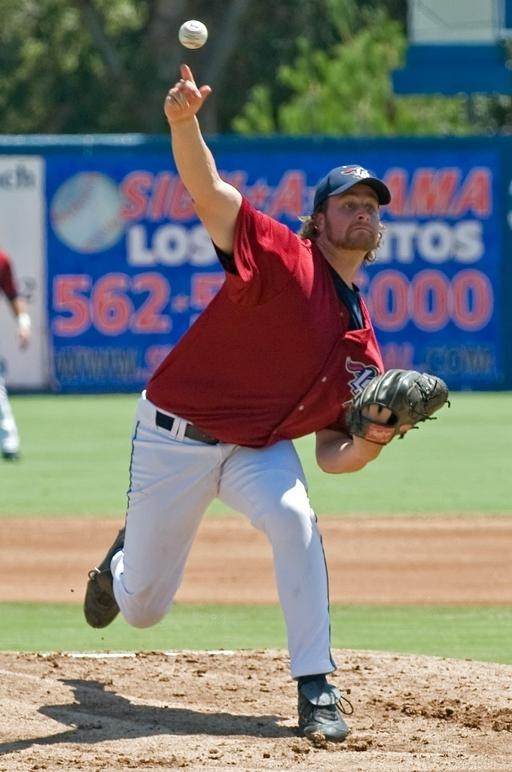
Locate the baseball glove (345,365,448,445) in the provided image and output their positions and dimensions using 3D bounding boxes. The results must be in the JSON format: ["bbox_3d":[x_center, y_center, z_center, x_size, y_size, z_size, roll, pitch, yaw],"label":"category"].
[{"bbox_3d":[0.397,0.049,3.557,0.182,0.138,0.286,35,56,28],"label":"baseball glove"}]

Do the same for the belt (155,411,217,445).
[{"bbox_3d":[-0.202,0.104,3.619,0.156,0.096,0.115,-7,9,-27],"label":"belt"}]

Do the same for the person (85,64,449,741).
[{"bbox_3d":[0.033,0.030,3.811,1.080,1.839,0.854,-1,2,-20],"label":"person"}]
